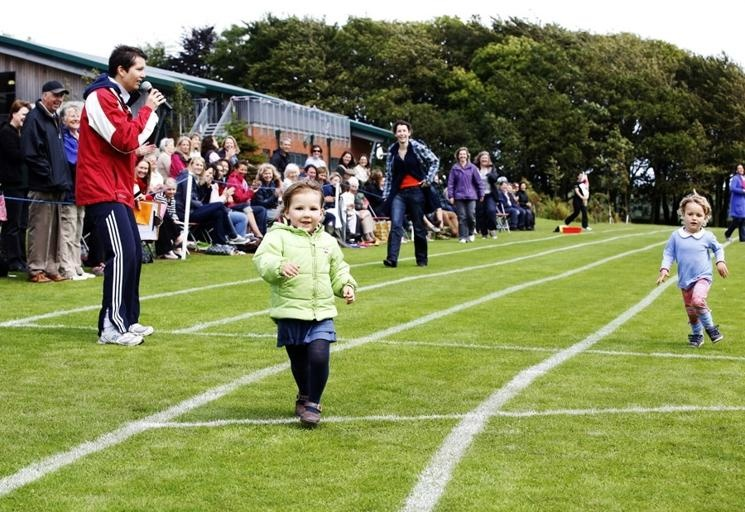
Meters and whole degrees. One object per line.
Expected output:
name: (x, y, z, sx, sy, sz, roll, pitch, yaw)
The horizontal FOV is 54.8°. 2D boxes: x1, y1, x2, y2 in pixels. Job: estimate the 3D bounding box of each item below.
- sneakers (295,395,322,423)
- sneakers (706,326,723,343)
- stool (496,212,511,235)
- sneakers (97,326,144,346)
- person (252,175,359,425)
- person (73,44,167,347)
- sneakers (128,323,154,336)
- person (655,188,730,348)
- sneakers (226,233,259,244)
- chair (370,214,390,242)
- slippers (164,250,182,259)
sneakers: (-0.461, 1.118, 5.316, 0.197, 0.172, 0.366, 0, 8, -7)
sneakers: (3.702, 0.849, 7.826, 0.113, 0.149, 0.336, -39, -9, 1)
stool: (4.856, -1.233, 26.795, 0.675, 0.793, 0.734, -2, 1, 43)
sneakers: (-2.469, 0.786, 7.113, 0.448, 0.216, 0.168, -1, -1, 9)
person: (-0.489, 0.308, 5.462, 0.686, 1.735, 0.641, 7, 9, 38)
person: (-2.584, -0.651, 7.565, 1.027, 3.024, 1.093, -1, 4, -22)
sneakers: (-2.357, 0.757, 7.395, 0.219, 0.105, 0.098, 2, 12, 18)
person: (3.588, 0.123, 8.057, 0.677, 1.657, 0.901, 5, 8, 26)
sneakers: (-2.751, -0.369, 15.368, 0.599, 0.262, 0.206, -3, 4, -3)
chair: (0.284, -0.749, 20.035, 0.556, 0.809, 0.556, -1, 1, 10)
slippers: (-3.820, -0.012, 13.929, 0.313, 0.128, 0.109, -1, 5, 6)
